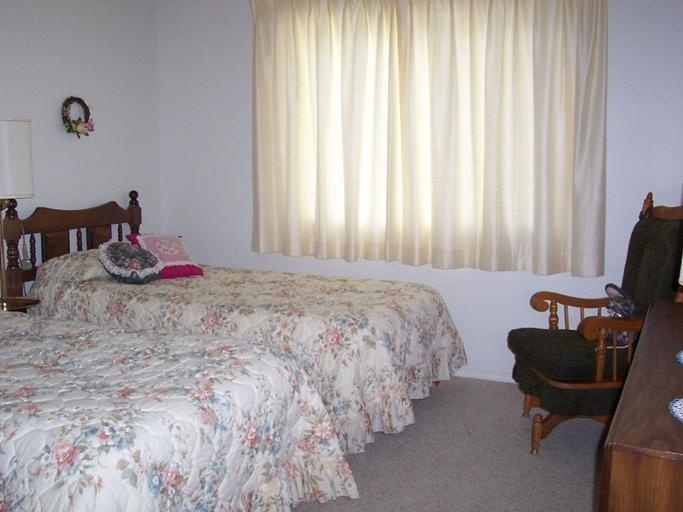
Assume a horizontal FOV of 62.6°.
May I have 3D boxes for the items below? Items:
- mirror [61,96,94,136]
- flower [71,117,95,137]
[{"bbox_3d":[-2.002,-1.060,4.243,0.111,0.271,0.205,-2,9,35],"label":"mirror"},{"bbox_3d":[-1.979,-0.986,4.293,0.136,0.060,0.122,-5,57,-6],"label":"flower"}]
